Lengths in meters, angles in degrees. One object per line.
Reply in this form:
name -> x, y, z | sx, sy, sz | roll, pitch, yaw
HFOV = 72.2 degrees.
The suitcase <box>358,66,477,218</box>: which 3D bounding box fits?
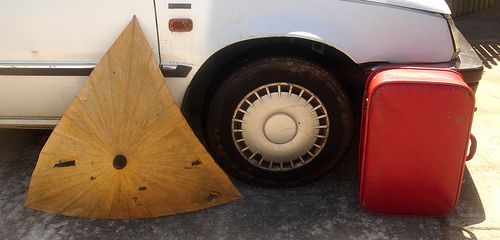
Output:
suitcase -> 1.803, 0.259, 3.862 | 1.119, 1.452, 0.982 | 4, 37, 0
